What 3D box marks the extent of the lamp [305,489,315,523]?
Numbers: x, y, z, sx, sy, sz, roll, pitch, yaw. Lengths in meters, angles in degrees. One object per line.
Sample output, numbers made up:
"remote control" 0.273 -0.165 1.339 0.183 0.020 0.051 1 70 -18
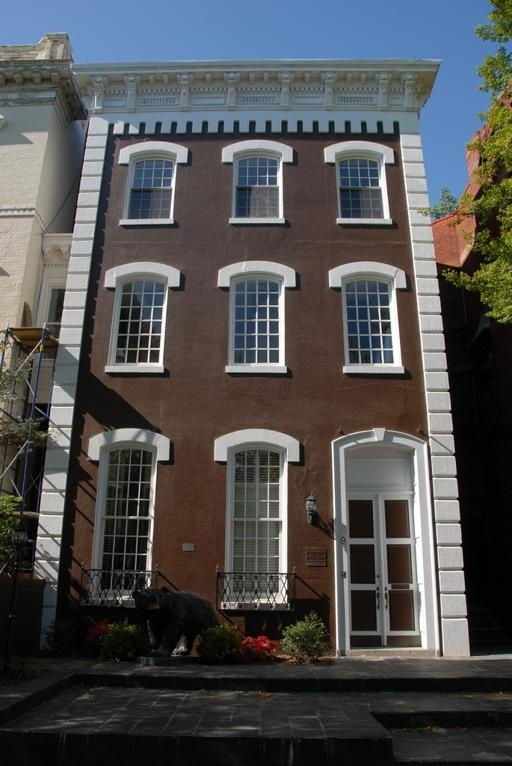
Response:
"lamp" 1.019 2.350 12.163 0.210 0.455 0.300 0 -28 4
